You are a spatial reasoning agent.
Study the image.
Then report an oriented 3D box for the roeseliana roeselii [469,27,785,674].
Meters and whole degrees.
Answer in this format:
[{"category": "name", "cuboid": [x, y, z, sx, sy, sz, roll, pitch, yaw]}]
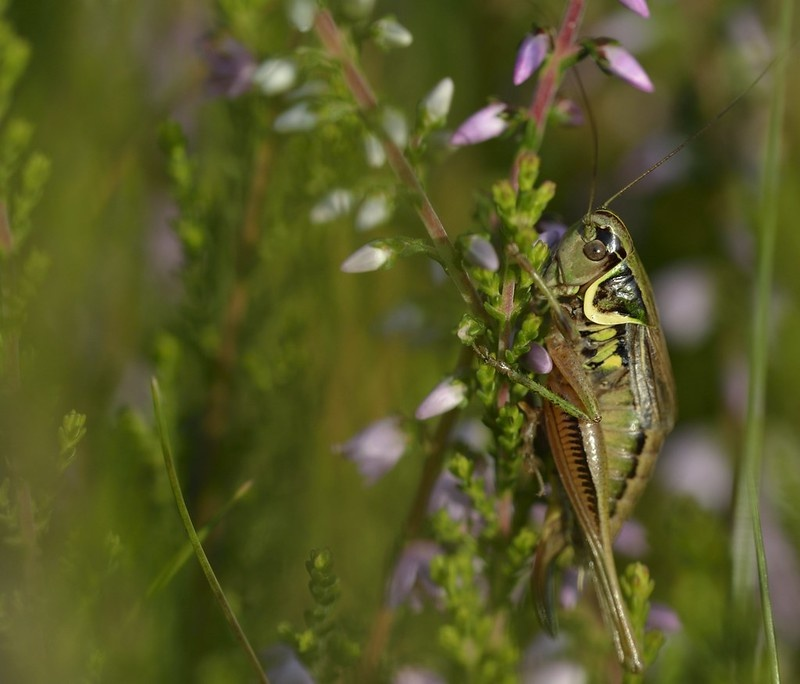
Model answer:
[{"category": "roeseliana roeselii", "cuboid": [0.172, 0.048, 0.835, 0.181, 0.145, 0.284, -34, 80, -14]}]
